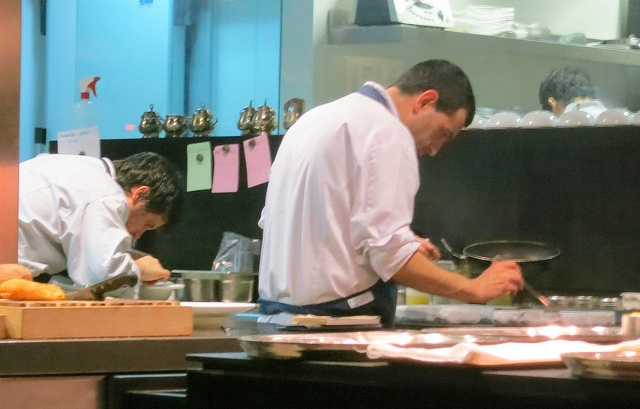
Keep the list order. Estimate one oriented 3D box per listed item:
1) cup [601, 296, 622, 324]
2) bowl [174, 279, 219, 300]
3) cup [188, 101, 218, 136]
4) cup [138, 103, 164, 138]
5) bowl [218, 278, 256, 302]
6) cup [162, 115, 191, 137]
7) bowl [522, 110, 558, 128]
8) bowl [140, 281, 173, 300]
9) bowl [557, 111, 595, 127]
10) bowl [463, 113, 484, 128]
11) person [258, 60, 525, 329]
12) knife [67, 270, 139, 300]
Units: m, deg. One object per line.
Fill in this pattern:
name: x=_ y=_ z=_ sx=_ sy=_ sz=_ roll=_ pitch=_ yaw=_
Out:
cup: x=1.161 y=0.425 z=3.155 sx=0.118 sy=0.100 sz=0.104 roll=0 pitch=0 yaw=-6
bowl: x=-0.542 y=0.375 z=3.465 sx=0.126 sy=0.061 sz=0.119 roll=0 pitch=-5 yaw=0
cup: x=-0.633 y=-0.443 z=4.206 sx=0.152 sy=0.171 sz=0.225 roll=-3 pitch=1 yaw=-8
cup: x=-0.912 y=-0.450 z=4.215 sx=0.114 sy=0.184 sz=0.160 roll=-3 pitch=2 yaw=9
bowl: x=-0.367 y=0.374 z=3.432 sx=0.133 sy=0.078 sz=0.124 roll=-1 pitch=-2 yaw=0
cup: x=-0.774 y=-0.419 z=4.177 sx=0.157 sy=0.111 sz=0.107 roll=2 pitch=-3 yaw=-2
bowl: x=1.014 y=-0.391 z=3.608 sx=0.116 sy=0.033 sz=0.104 roll=-1 pitch=1 yaw=-25
bowl: x=-0.666 y=0.352 z=3.179 sx=0.096 sy=0.071 sz=0.084 roll=-1 pitch=3 yaw=-1
bowl: x=1.170 y=-0.391 z=3.567 sx=0.165 sy=0.074 sz=0.054 roll=-2 pitch=2 yaw=16
bowl: x=0.739 y=-0.391 z=3.706 sx=0.107 sy=0.030 sz=0.131 roll=0 pitch=23 yaw=20
person: x=0.197 y=-0.055 z=2.683 sx=0.873 sy=0.928 sz=0.431 roll=-3 pitch=2 yaw=-7
knife: x=-0.792 y=0.289 z=2.815 sx=0.284 sy=0.041 sz=0.092 roll=-12 pitch=-32 yaw=13
